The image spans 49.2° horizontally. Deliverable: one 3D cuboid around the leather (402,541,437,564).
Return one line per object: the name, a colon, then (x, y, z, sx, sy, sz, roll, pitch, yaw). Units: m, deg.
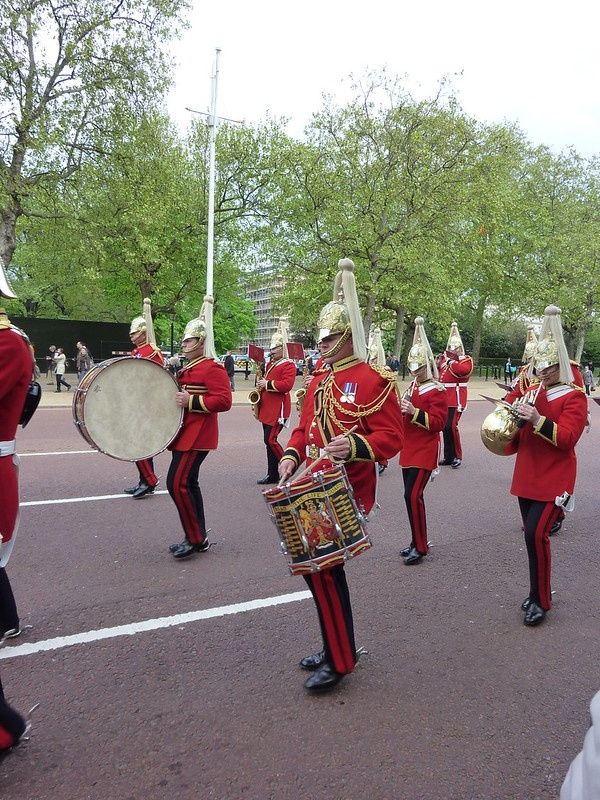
leather: (0.885, 1.218, 5.169, 0.100, 0.119, 0.293, -26, -17, 30)

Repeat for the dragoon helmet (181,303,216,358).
dragoon helmet: (-0.842, -0.615, 5.480, 0.355, 0.525, 0.207, 4, 9, -28)

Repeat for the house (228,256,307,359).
house: (-1.268, -3.810, 27.903, 0.819, 3.760, 4.394, 5, 6, -15)

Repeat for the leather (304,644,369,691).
leather: (0.126, 1.349, 3.293, 0.241, 0.089, 0.138, -2, -5, -39)

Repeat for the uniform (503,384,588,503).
uniform: (1.587, 0.280, 4.223, 0.431, 0.761, 0.436, 4, 7, 21)

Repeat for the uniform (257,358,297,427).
uniform: (-0.316, -0.134, 8.245, 0.472, 0.809, 0.634, 0, 6, -27)

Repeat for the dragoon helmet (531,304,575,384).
dragoon helmet: (1.639, -0.376, 4.328, 0.280, 0.510, 0.273, 11, 16, 43)

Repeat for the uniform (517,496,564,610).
uniform: (1.499, 0.977, 4.125, 0.184, 0.683, 0.193, 5, 7, 21)

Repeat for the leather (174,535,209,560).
leather: (-0.849, 1.163, 5.091, 0.104, 0.120, 0.291, -20, -15, 38)

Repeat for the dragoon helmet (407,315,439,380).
dragoon helmet: (1.139, -0.481, 5.930, 0.290, 0.554, 0.317, 4, 18, 34)

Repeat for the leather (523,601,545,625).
leather: (1.434, 1.325, 4.035, 0.072, 0.074, 0.198, -11, -14, 26)

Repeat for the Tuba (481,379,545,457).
Tuba: (1.350, 0.138, 4.292, 0.332, 0.463, 0.469, 40, 11, 7)

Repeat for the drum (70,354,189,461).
drum: (-1.210, 0.062, 5.104, 0.879, 0.800, 0.371, 5, 2, 19)

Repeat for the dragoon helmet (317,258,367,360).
dragoon helmet: (0.238, -0.513, 3.480, 0.276, 0.502, 0.351, -5, 22, 7)

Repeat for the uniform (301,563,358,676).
uniform: (0.159, 1.120, 3.283, 0.279, 0.582, 0.173, 0, 7, -14)

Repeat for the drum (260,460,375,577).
drum: (0.080, 0.581, 3.174, 0.434, 0.412, 0.406, -19, -6, -3)
